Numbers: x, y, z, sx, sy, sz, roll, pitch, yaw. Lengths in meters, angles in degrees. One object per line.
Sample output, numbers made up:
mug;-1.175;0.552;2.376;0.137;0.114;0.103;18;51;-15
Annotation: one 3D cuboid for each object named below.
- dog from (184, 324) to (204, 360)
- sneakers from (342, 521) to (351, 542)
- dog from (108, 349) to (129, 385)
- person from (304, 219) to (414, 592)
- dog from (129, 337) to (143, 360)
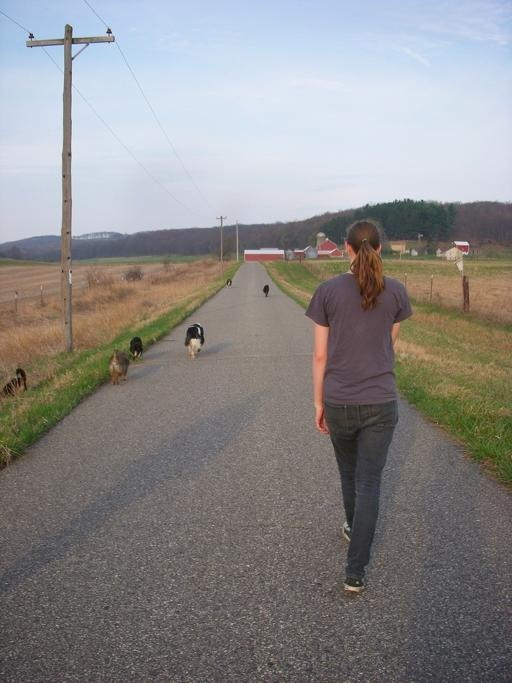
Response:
dog;-1.374;-0.027;13.134;0.391;0.662;1.262;-1;6;-6
sneakers;0.624;1.323;4.066;0.061;0.100;0.196;3;15;5
dog;-2.382;0.425;10.222;0.306;0.610;0.856;-2;6;-15
person;0.612;0.366;3.581;0.608;2.148;0.532;1;5;19
dog;-2.542;0.089;12.583;0.160;0.398;0.627;2;14;-7
